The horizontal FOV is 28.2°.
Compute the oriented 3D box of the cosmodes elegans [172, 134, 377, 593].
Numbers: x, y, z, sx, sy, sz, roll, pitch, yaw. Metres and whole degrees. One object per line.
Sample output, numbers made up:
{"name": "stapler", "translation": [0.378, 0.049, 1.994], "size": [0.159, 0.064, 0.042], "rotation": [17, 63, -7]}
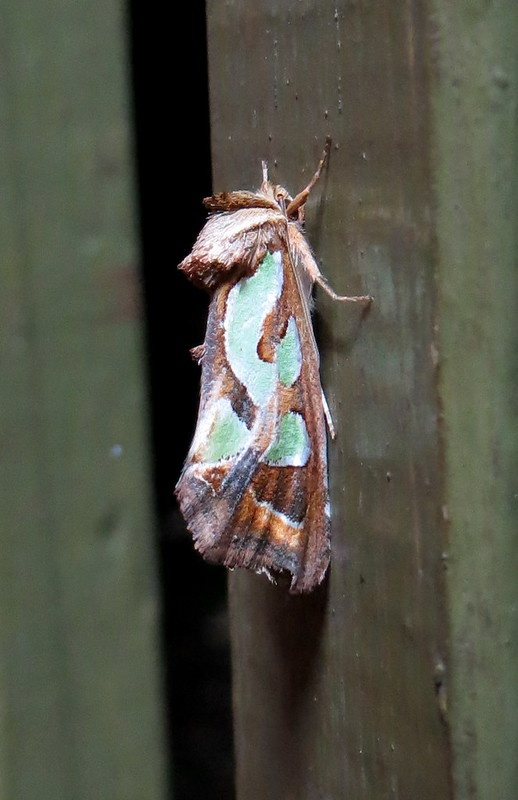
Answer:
{"name": "cosmodes elegans", "translation": [0.021, -0.042, 1.832], "size": [0.364, 0.237, 0.741], "rotation": [-1, 88, 37]}
